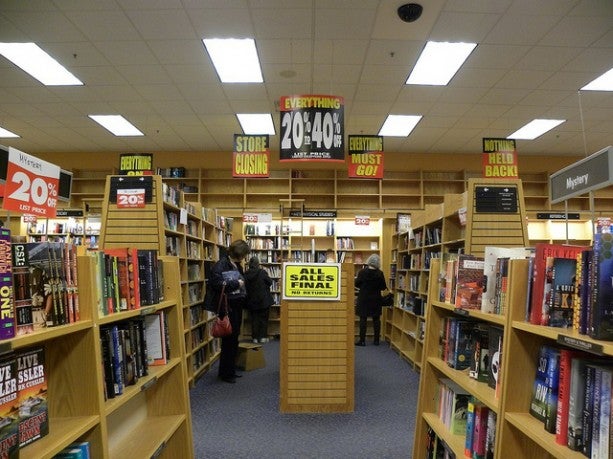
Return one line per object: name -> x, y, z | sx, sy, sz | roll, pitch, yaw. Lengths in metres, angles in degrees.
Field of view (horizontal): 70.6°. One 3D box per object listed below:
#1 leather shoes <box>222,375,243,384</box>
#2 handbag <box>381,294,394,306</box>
leather shoes -> -1.039, 2.057, 6.021 | 0.248, 0.119, 0.084 | 2, 2, -23
handbag -> 1.570, 1.336, 8.307 | 0.206, 0.286, 0.302 | 0, -16, 3
